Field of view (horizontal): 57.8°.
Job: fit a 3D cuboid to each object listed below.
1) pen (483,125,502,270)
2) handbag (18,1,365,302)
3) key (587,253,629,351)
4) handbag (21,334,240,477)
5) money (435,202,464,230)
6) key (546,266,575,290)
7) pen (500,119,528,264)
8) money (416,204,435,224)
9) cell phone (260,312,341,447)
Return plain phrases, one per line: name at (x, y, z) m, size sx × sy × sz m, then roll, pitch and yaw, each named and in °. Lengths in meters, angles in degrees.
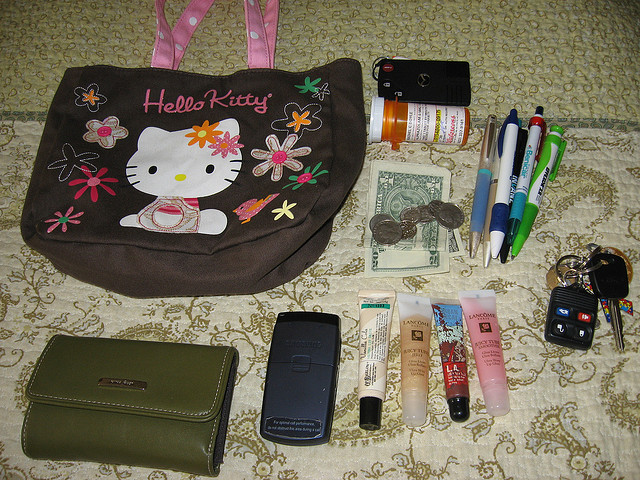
pen at (0.347, -0.085, 1.134) m, size 0.024 × 0.033 × 0.324 m, roll 13°, pitch 69°, yaw -9°
handbag at (-0.242, -0.130, 1.105) m, size 0.640 × 0.309 × 0.378 m, roll 4°, pitch 43°, yaw 3°
key at (0.530, 0.107, 1.050) m, size 0.061 × 0.019 × 0.166 m, roll -11°, pitch 85°, yaw 41°
handbag at (-0.337, 0.281, 0.996) m, size 0.332 × 0.120 × 0.223 m, roll 4°, pitch 74°, yaw 4°
money at (0.248, -0.046, 1.125) m, size 0.049 × 0.030 × 0.051 m, roll -22°, pitch 47°, yaw -23°
key at (0.447, 0.070, 1.082) m, size 0.041 × 0.010 × 0.042 m, roll 16°, pitch 80°, yaw 37°
pen at (0.369, -0.082, 1.113) m, size 0.023 × 0.031 × 0.282 m, roll 11°, pitch 75°, yaw 0°
money at (0.202, -0.050, 1.125) m, size 0.031 × 0.007 × 0.031 m, roll -40°, pitch 74°, yaw -14°
cell phone at (-0.032, 0.250, 1.024) m, size 0.125 × 0.146 × 0.196 m, roll 3°, pitch 43°, yaw 3°
